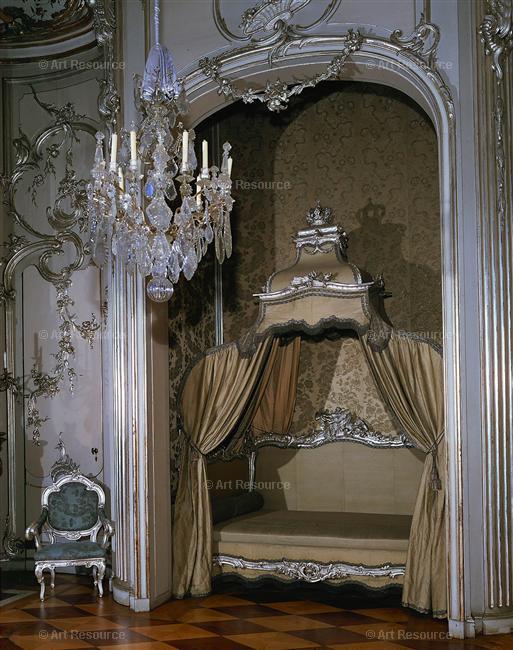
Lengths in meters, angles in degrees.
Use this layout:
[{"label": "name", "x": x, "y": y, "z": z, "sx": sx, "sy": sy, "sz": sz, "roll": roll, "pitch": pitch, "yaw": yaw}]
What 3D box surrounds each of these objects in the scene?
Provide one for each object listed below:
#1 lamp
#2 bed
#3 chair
[{"label": "lamp", "x": -0.573, "y": -1.249, "z": 7.328, "sx": 0.861, "sy": 2.290, "sz": 1.849, "roll": 2, "pitch": -4, "yaw": -5}, {"label": "bed", "x": 0.498, "y": 1.342, "z": 8.872, "sx": 1.556, "sy": 1.059, "sz": 0.919, "roll": -1, "pitch": 13, "yaw": 23}, {"label": "chair", "x": -1.419, "y": 1.604, "z": 8.784, "sx": 0.670, "sy": 0.804, "sz": 0.591, "roll": -2, "pitch": 3, "yaw": -14}]
